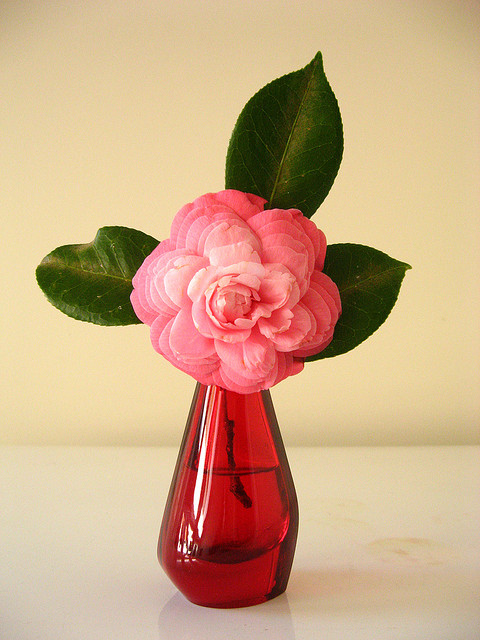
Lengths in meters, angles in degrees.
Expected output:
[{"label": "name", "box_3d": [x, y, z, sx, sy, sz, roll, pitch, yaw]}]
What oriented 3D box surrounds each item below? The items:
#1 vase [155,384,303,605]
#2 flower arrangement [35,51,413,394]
[{"label": "vase", "box_3d": [-0.011, 0.127, 0.472, 0.101, 0.164, 0.058, -3, 6, 2]}, {"label": "flower arrangement", "box_3d": [-0.024, -0.066, 0.440, 0.254, 0.222, 0.115, -2, 6, 11]}]
